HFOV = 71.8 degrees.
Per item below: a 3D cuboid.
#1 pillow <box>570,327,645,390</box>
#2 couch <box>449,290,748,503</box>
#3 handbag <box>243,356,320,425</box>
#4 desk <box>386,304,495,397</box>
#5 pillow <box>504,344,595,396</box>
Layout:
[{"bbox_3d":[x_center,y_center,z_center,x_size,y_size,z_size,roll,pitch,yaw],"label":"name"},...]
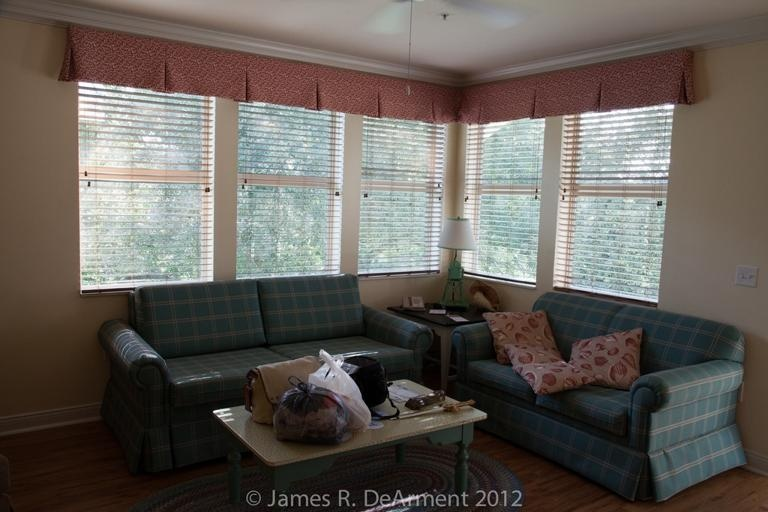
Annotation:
[{"bbox_3d":[1.723,0.801,4.241,0.604,0.545,0.178,0,15,31],"label":"pillow"},{"bbox_3d":[1.747,1.009,4.573,1.471,1.003,2.126,-5,6,-34],"label":"couch"},{"bbox_3d":[-0.608,0.826,3.209,0.477,0.288,0.195,-2,-3,-33],"label":"handbag"},{"bbox_3d":[0.564,0.785,5.296,0.798,0.682,1.004,-2,4,-35],"label":"desk"},{"bbox_3d":[1.324,0.876,4.313,0.435,0.185,0.675,-9,26,-42],"label":"pillow"}]
